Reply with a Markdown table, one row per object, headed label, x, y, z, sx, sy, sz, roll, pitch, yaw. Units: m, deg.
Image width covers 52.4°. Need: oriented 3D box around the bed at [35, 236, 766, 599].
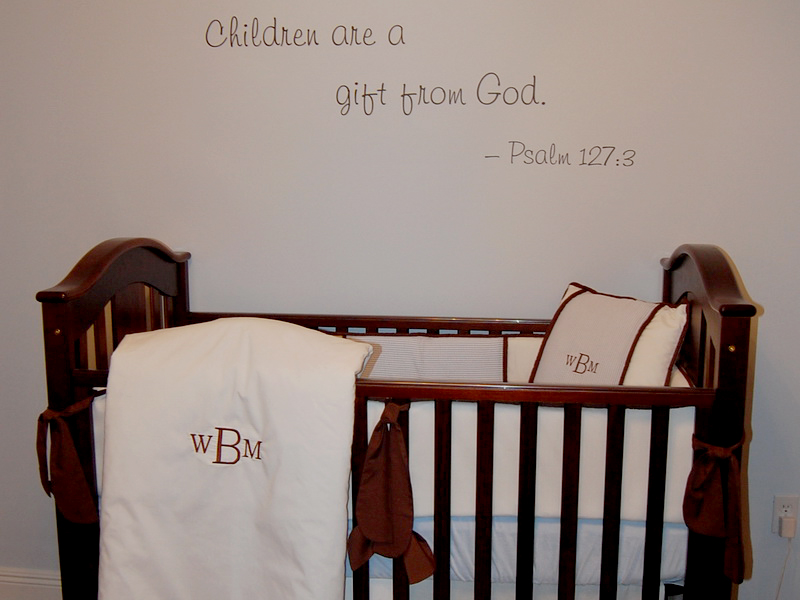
| label | x | y | z | sx | sy | sz | roll | pitch | yaw |
| --- | --- | --- | --- | --- | --- | --- | --- | --- | --- |
| bed | -0.074 | 0.132 | 2.957 | 1.884 | 1.479 | 1.199 | 0 | 5 | 2 |
